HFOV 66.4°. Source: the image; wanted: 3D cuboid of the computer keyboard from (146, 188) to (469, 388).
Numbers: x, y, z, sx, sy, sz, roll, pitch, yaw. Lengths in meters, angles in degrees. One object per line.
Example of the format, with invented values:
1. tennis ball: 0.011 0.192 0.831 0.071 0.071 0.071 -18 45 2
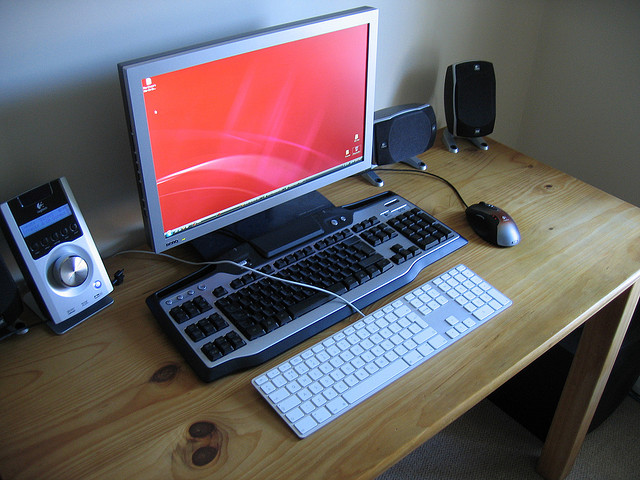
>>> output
1. computer keyboard: -0.033 0.086 0.975 0.646 0.087 0.308 -24 50 -25

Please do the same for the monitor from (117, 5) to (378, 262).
1. monitor: -0.161 -0.220 1.005 0.496 0.378 0.205 -26 47 -22

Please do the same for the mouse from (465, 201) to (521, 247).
1. mouse: 0.399 -0.047 1.130 0.094 0.048 0.154 -20 33 -10

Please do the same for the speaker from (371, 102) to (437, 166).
1. speaker: 0.210 -0.295 1.329 0.219 0.137 0.112 -25 39 -22

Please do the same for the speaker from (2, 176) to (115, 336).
1. speaker: -0.512 0.036 0.941 0.180 0.276 0.168 29 43 18
